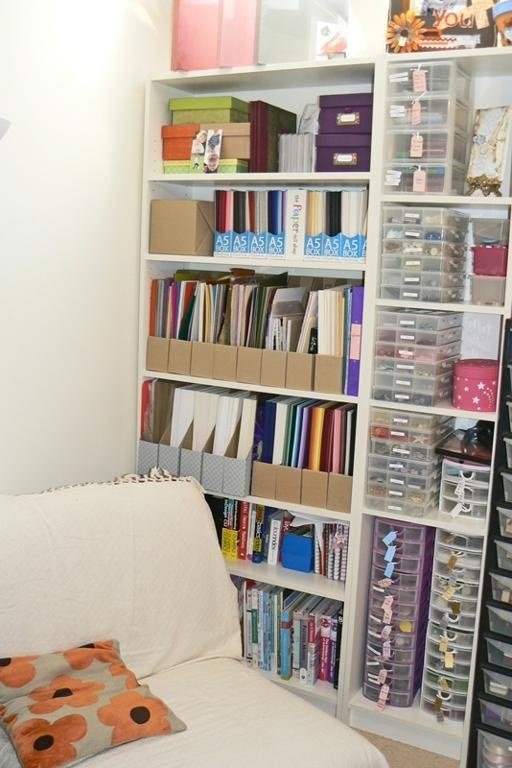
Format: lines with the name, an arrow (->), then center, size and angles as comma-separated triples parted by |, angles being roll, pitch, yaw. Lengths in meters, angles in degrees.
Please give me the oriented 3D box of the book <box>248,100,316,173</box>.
book -> 0.079, -0.783, 1.947 | 0.204, 0.240, 0.261 | 3, 8, -3
